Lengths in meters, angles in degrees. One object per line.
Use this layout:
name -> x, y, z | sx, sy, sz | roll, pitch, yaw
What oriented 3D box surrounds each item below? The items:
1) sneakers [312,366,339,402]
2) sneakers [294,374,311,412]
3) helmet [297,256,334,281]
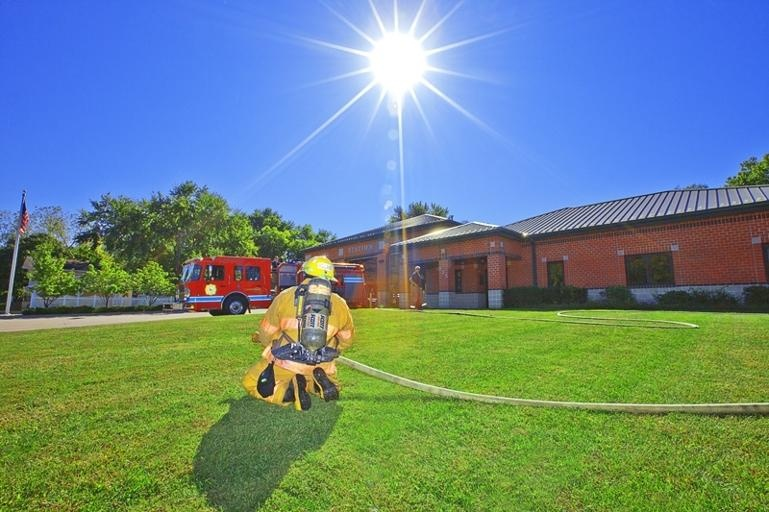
sneakers -> -0.762, 1.690, 5.343 | 0.266, 0.503, 0.228 | -24, -21, -21
sneakers -> -1.067, 1.775, 5.229 | 0.168, 0.429, 0.276 | -2, 5, -15
helmet -> -0.897, 0.180, 5.458 | 0.319, 0.219, 0.424 | 12, -10, -38
